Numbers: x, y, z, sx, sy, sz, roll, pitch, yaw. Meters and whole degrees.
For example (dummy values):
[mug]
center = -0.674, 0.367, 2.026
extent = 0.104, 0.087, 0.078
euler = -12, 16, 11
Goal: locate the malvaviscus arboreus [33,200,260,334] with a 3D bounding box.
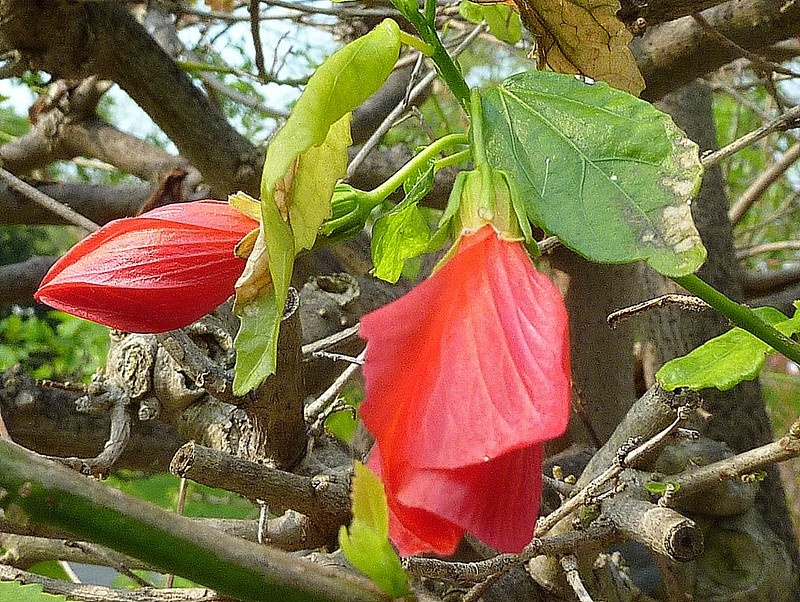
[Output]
[malvaviscus arboreus]
center = -0.345, -0.042, 1.677
extent = 0.282, 0.170, 0.120
euler = -7, -9, -11
